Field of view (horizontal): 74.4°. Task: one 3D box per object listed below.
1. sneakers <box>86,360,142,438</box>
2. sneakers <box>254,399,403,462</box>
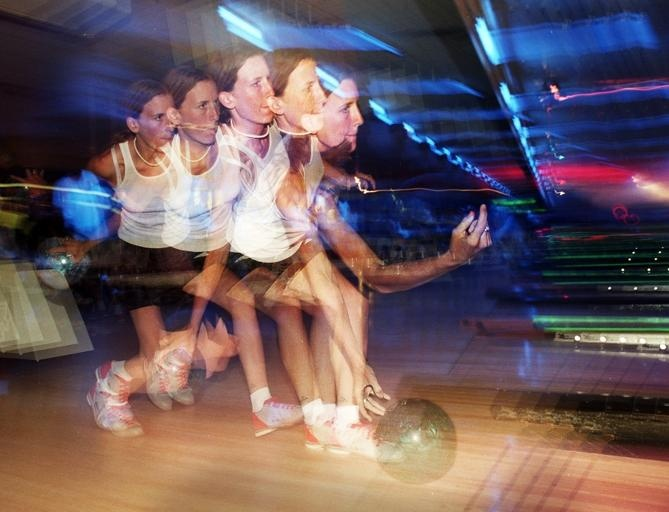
[{"bbox_3d":[-1.109,0.736,2.232,0.370,0.261,0.148,39,16,27],"label":"sneakers"},{"bbox_3d":[0.010,0.752,2.059,0.709,0.291,0.235,-1,-4,16],"label":"sneakers"}]
